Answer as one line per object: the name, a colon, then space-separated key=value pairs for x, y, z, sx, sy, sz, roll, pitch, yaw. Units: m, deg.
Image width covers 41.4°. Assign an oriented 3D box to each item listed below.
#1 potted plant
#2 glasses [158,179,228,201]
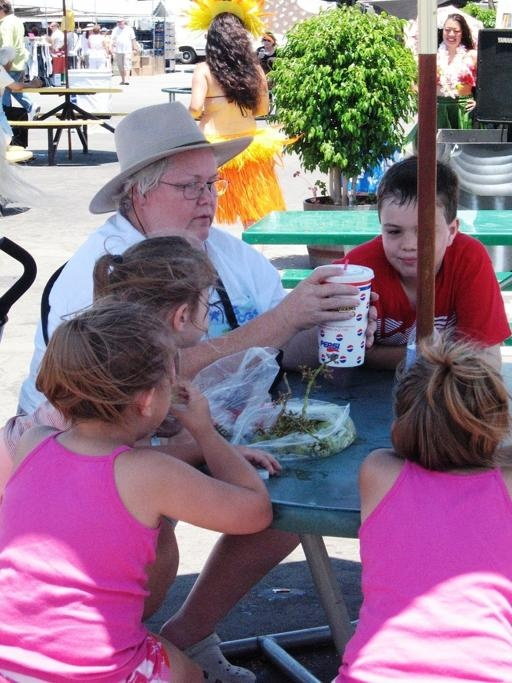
potted plant: x=0.701 y=-1.748 z=5.505 sx=1.012 sy=1.601 sz=0.759 roll=-3 pitch=24 yaw=-6
glasses: x=-0.195 y=-0.406 z=1.820 sx=0.137 sy=0.033 sz=0.132 roll=5 pitch=9 yaw=38
